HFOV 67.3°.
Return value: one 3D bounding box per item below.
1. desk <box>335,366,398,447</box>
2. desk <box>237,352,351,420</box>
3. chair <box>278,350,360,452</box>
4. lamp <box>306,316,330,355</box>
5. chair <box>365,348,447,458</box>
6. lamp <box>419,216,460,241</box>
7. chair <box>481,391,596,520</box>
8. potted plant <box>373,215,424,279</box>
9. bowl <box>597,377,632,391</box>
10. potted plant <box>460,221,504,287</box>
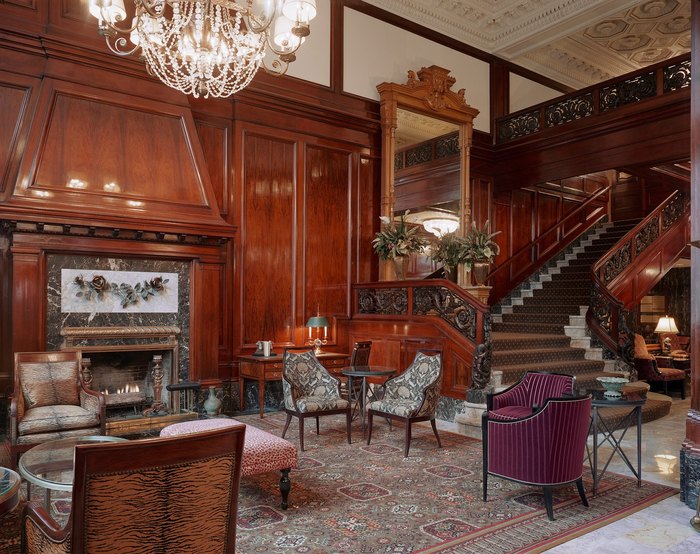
[{"bbox_3d":[0.223,1.558,7.107,0.878,0.773,0.893,4,4,44],"label":"desk"},{"bbox_3d":[-0.851,1.653,8.008,0.745,0.814,1.884,-14,-16,41],"label":"desk"},{"bbox_3d":[-0.440,1.368,6.313,1.053,1.222,1.069,2,-6,-31],"label":"chair"},{"bbox_3d":[-0.476,0.904,8.278,0.461,0.488,0.405,2,-13,-12],"label":"lamp"},{"bbox_3d":[0.707,1.452,6.161,0.774,0.856,0.740,-1,-3,-44],"label":"chair"},{"bbox_3d":[1.768,-0.927,9.765,0.664,0.144,0.584,-2,20,-4],"label":"lamp"},{"bbox_3d":[1.688,1.503,4.634,0.775,0.808,0.791,12,-15,-41],"label":"chair"},{"bbox_3d":[0.890,-0.486,8.857,0.862,0.779,0.822,0,2,-33],"label":"potted plant"},{"bbox_3d":[2.572,1.041,5.163,0.208,0.107,0.249,1,0,21],"label":"bowl"},{"bbox_3d":[2.204,-0.353,8.615,0.614,0.811,0.691,-3,6,-38],"label":"potted plant"}]
